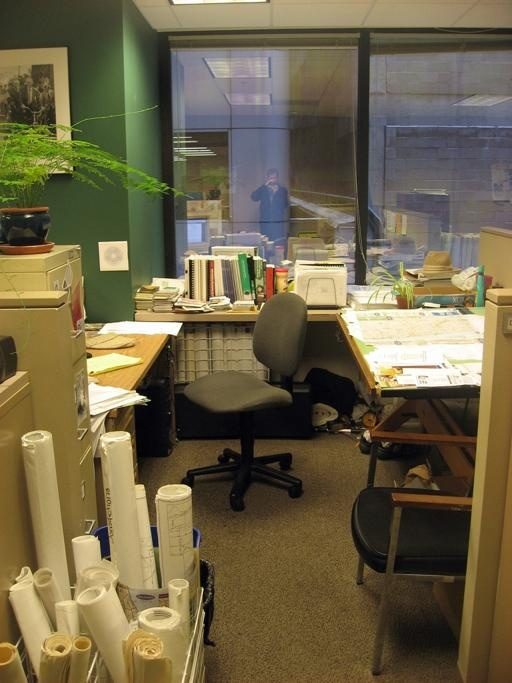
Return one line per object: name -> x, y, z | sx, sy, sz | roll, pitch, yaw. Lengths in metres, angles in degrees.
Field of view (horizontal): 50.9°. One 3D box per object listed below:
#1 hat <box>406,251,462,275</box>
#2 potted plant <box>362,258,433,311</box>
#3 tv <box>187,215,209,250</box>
hat -> 1.264, -0.539, 3.798 | 0.271, 0.099, 0.193 | -3, 14, -2
potted plant -> 0.970, -0.381, 3.686 | 0.358, 0.273, 0.463 | 0, 6, -4
tv -> -0.461, -0.880, 4.261 | 0.253, 0.342, 0.035 | 0, 8, -1
